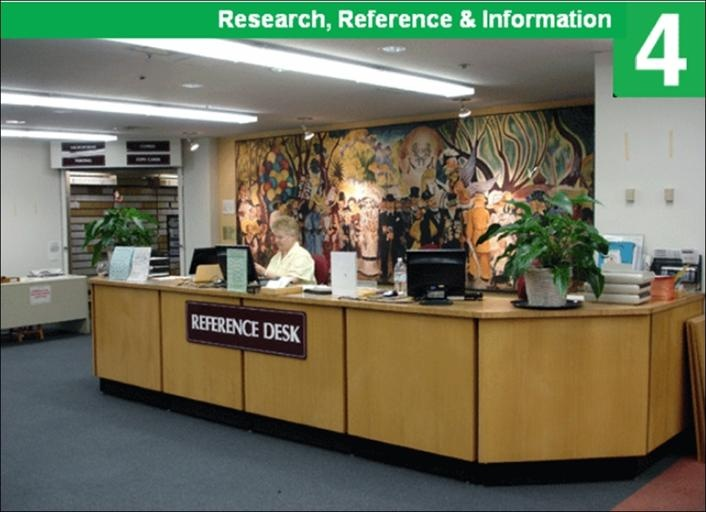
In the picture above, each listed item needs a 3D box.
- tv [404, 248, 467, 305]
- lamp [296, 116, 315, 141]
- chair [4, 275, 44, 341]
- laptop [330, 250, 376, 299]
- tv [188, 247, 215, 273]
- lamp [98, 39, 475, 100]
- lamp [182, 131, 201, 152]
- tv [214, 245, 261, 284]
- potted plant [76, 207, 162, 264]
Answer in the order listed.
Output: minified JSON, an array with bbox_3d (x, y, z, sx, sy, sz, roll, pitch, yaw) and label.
[{"bbox_3d":[0.645,0.121,4.569,0.677,0.589,0.352,0,0,2],"label":"tv"},{"bbox_3d":[-0.843,-2.192,9.563,0.432,0.472,0.428,-2,-1,-1],"label":"lamp"},{"bbox_3d":[-5.228,0.812,8.581,0.994,0.974,0.663,-3,-5,41],"label":"chair"},{"bbox_3d":[-0.070,0.168,4.789,0.352,0.494,0.414,1,1,35],"label":"laptop"},{"bbox_3d":[-1.662,0.021,5.986,0.319,0.257,0.320,-4,37,-19],"label":"tv"},{"bbox_3d":[-0.455,-2.069,5.873,3.924,0.147,0.515,-3,7,-30],"label":"lamp"},{"bbox_3d":[-3.216,-2.304,10.748,0.301,0.448,0.289,-13,-11,5],"label":"lamp"},{"bbox_3d":[-1.170,0.036,5.340,0.460,0.455,0.374,3,8,40],"label":"tv"},{"bbox_3d":[-3.756,-0.318,8.412,1.182,0.836,1.209,-1,-4,5],"label":"potted plant"}]
